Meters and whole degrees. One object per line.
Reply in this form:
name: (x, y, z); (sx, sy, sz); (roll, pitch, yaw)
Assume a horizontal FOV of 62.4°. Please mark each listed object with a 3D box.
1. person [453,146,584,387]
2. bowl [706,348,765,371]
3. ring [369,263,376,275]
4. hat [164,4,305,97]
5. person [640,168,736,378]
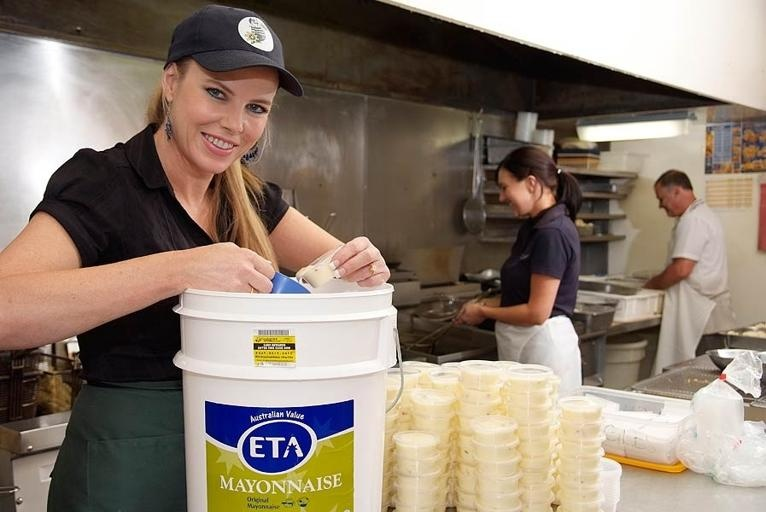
person: (0.724, 0.076, 3.231); (0.550, 1.258, 0.443); (1, 7, 17)
bowl: (1.564, 0.443, 2.828); (0.188, 0.051, 0.183); (-2, 0, 0)
ring: (-0.022, 0.032, 1.590); (0.009, 0.024, 0.018); (-3, -26, 27)
hat: (-0.369, -0.527, 1.620); (0.280, 0.135, 0.192); (16, 10, 32)
person: (2.222, 0.115, 4.597); (0.584, 1.483, 0.461); (2, 7, 28)
